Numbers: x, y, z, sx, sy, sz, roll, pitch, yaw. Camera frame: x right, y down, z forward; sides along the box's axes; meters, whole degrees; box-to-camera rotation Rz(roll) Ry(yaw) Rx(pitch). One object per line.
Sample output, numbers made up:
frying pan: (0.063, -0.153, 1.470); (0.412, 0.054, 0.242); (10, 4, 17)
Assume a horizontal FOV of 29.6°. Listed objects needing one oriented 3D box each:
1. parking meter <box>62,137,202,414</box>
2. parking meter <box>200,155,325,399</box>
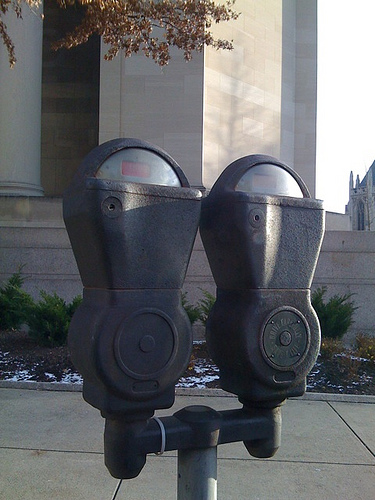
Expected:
parking meter: (-0.190, 0.097, 2.609); (0.518, 0.986, 0.354); (-1, 13, -10)
parking meter: (0.310, 0.106, 2.808); (0.495, 0.931, 0.379); (0, 13, -7)
